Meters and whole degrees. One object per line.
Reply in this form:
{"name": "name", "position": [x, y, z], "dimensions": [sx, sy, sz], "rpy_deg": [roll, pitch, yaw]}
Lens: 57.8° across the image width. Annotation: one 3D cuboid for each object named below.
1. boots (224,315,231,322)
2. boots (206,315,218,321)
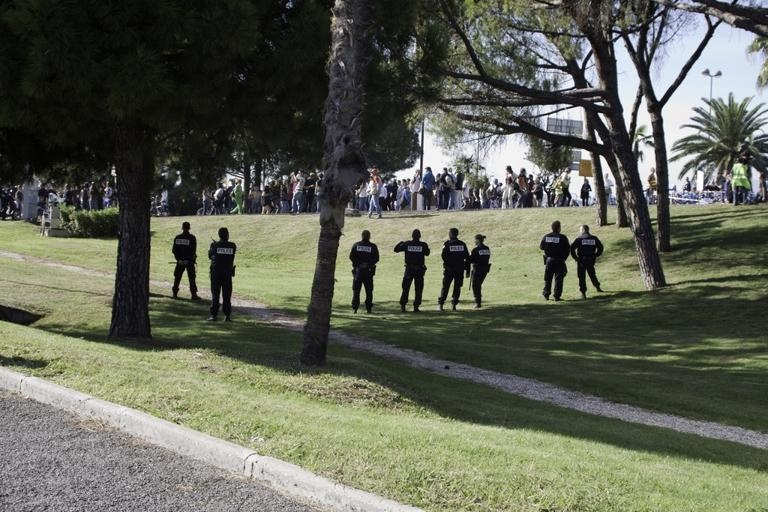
{"name": "boots", "position": [-3.992, 1.594, 17.694], "dimensions": [0.148, 0.168, 0.147], "rpy_deg": [0, -6, 2]}
{"name": "boots", "position": [-4.426, 1.561, 17.731], "dimensions": [0.115, 0.143, 0.342], "rpy_deg": [0, 9, -34]}
